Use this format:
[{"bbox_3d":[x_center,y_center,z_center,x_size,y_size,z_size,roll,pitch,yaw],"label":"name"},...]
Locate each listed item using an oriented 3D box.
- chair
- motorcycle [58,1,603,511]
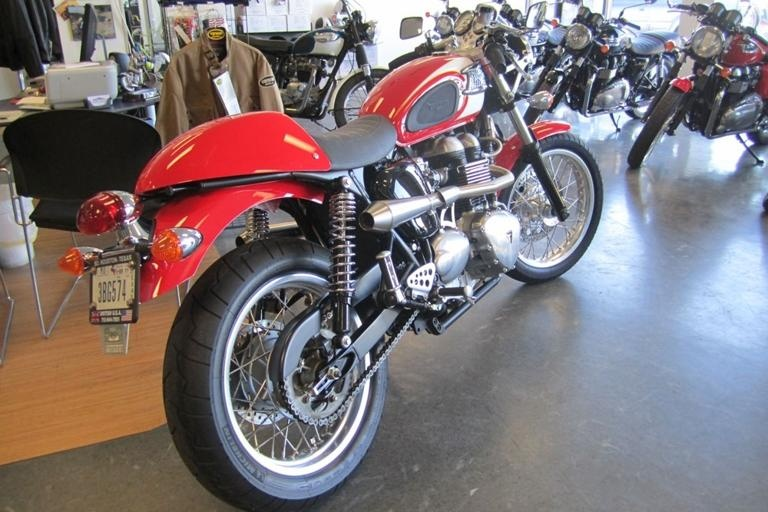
[{"bbox_3d":[-1.553,-0.239,3.098,0.781,1.248,0.835,-4,39,-13],"label":"chair"},{"bbox_3d":[-0.082,-0.115,2.610,0.940,1.925,2.322,19,28,37],"label":"motorcycle"}]
